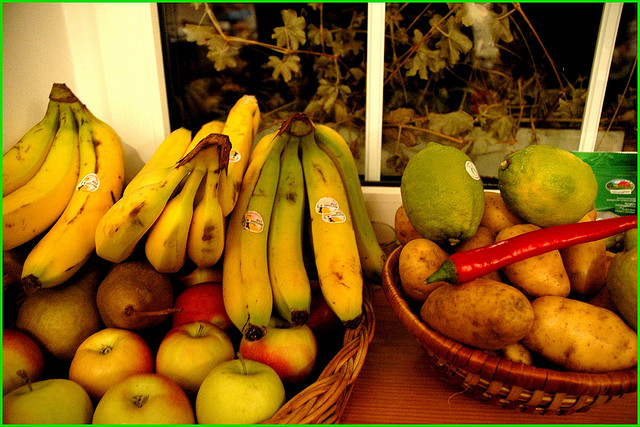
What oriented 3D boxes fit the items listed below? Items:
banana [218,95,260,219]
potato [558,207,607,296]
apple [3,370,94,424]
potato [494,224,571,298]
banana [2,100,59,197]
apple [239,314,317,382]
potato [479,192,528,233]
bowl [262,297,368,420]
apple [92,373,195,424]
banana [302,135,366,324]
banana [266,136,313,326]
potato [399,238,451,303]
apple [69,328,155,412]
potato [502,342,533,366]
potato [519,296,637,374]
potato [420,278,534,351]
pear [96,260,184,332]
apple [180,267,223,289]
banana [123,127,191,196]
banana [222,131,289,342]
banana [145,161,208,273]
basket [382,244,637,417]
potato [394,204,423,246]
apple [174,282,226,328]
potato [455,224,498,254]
[{"bbox_3d":[-0.194,-0.162,1.275,0.090,0.337,0.104,16,-27,-7],"label":"banana"},{"bbox_3d":[0.604,0.092,1.158,0.092,0.189,0.089,6,-20,-30],"label":"potato"},{"bbox_3d":[-0.561,0.391,0.991,0.161,0.109,0.081,-2,23,2],"label":"apple"},{"bbox_3d":[0.472,0.123,1.143,0.115,0.184,0.119,-39,-14,17],"label":"potato"},{"bbox_3d":[-0.755,-0.162,1.261,0.073,0.096,0.265,11,62,10],"label":"banana"},{"bbox_3d":[-0.090,0.302,1.098,0.149,0.133,0.145,-2,6,-12],"label":"apple"},{"bbox_3d":[0.434,0.003,1.182,0.108,0.066,0.064,22,54,23],"label":"potato"},{"bbox_3d":[-0.023,0.317,1.018,0.050,0.240,0.192,26,26,3],"label":"bowl"},{"bbox_3d":[-0.355,0.377,0.983,0.129,0.127,0.123,-4,50,-8],"label":"apple"},{"bbox_3d":[-0.025,0.030,1.265,0.107,0.504,0.165,-16,-21,12],"label":"banana"},{"bbox_3d":[-0.076,0.033,1.263,0.103,0.487,0.168,12,-26,-27],"label":"banana"},{"bbox_3d":[0.233,0.126,1.165,0.107,0.141,0.110,-18,4,10],"label":"potato"},{"bbox_3d":[-0.437,0.337,1.130,0.167,0.165,0.162,12,40,6],"label":"apple"},{"bbox_3d":[0.418,0.296,1.024,0.049,0.033,0.060,-6,0,10],"label":"potato"},{"bbox_3d":[0.524,0.259,1.043,0.233,0.105,0.120,17,53,21],"label":"potato"},{"bbox_3d":[0.342,0.227,1.055,0.148,0.135,0.255,-8,4,-28],"label":"potato"},{"bbox_3d":[-0.421,0.193,1.126,0.096,0.101,0.133,-48,26,-3],"label":"pear"},{"bbox_3d":[-0.302,0.163,1.253,0.084,0.050,0.058,-3,-3,6],"label":"apple"},{"bbox_3d":[-0.431,-0.146,1.289,0.073,0.087,0.262,21,48,12],"label":"banana"},{"bbox_3d":[-0.132,0.053,1.199,0.102,0.499,0.172,3,-17,6],"label":"banana"},{"bbox_3d":[-0.316,0.025,1.150,0.107,0.285,0.078,21,9,-11],"label":"banana"},{"bbox_3d":[0.354,0.220,0.992,0.361,0.130,0.355,-19,32,-31],"label":"basket"},{"bbox_3d":[0.203,0.030,1.238,0.089,0.105,0.086,-1,8,5],"label":"potato"},{"bbox_3d":[-0.275,0.212,1.189,0.119,0.109,0.116,-6,-1,4],"label":"apple"},{"bbox_3d":[0.374,0.063,1.147,0.069,0.082,0.069,2,9,25],"label":"potato"}]
